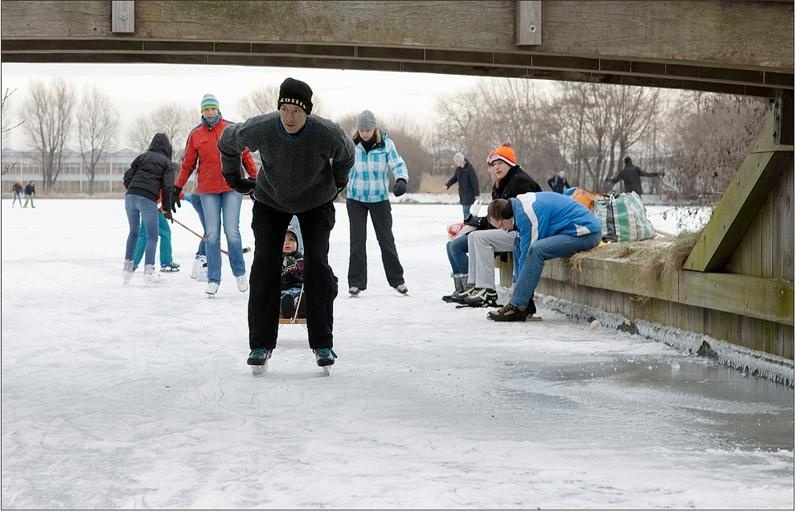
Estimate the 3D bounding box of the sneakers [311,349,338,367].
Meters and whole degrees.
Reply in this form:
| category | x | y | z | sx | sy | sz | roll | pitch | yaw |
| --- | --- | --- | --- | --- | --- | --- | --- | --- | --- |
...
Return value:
| category | x | y | z | sx | sy | sz | roll | pitch | yaw |
| --- | --- | --- | --- | --- | --- | --- | --- | --- | --- |
| sneakers | -0.624 | 0.854 | 6.749 | 0.117 | 0.148 | 0.348 | -4 | -8 | -8 |

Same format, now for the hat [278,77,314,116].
| category | x | y | z | sx | sy | sz | roll | pitch | yaw |
| --- | --- | --- | --- | --- | --- | --- | --- | --- | --- |
| hat | -0.800 | -1.235 | 6.206 | 0.262 | 0.275 | 0.379 | -1 | 10 | -7 |

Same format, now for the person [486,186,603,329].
| category | x | y | z | sx | sy | sz | roll | pitch | yaw |
| --- | --- | --- | --- | --- | --- | --- | --- | --- | --- |
| person | 1.596 | -0.006 | 8.947 | 1.262 | 1.383 | 0.488 | -5 | 11 | -27 |

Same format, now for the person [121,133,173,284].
| category | x | y | z | sx | sy | sz | roll | pitch | yaw |
| --- | --- | --- | --- | --- | --- | --- | --- | --- | --- |
| person | -3.594 | -0.702 | 11.513 | 0.755 | 2.084 | 1.392 | -3 | 10 | -15 |

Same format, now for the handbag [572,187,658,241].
| category | x | y | z | sx | sy | sz | roll | pitch | yaw |
| --- | --- | --- | --- | --- | --- | --- | --- | --- | --- |
| handbag | 2.506 | -0.493 | 9.612 | 0.590 | 0.321 | 0.872 | -6 | 4 | -39 |

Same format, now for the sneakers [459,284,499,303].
| category | x | y | z | sx | sy | sz | roll | pitch | yaw |
| --- | --- | --- | --- | --- | --- | --- | --- | --- | --- |
| sneakers | 0.956 | 0.454 | 9.757 | 0.490 | 0.209 | 0.180 | 4 | -3 | -1 |

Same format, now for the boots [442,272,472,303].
| category | x | y | z | sx | sy | sz | roll | pitch | yaw |
| --- | --- | --- | --- | --- | --- | --- | --- | --- | --- |
| boots | 0.830 | 0.399 | 10.142 | 0.510 | 0.374 | 0.197 | 2 | -2 | -20 |

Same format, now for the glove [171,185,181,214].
| category | x | y | z | sx | sy | sz | roll | pitch | yaw |
| --- | --- | --- | --- | --- | --- | --- | --- | --- | --- |
| glove | -3.130 | -0.774 | 11.205 | 0.123 | 0.399 | 0.330 | 4 | 8 | -19 |

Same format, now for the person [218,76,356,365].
| category | x | y | z | sx | sy | sz | roll | pitch | yaw |
| --- | --- | --- | --- | --- | --- | --- | --- | --- | --- |
| person | -0.906 | -0.243 | 6.686 | 1.081 | 2.399 | 0.716 | -1 | 10 | -4 |

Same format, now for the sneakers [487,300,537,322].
| category | x | y | z | sx | sy | sz | roll | pitch | yaw |
| --- | --- | --- | --- | --- | --- | --- | --- | --- | --- |
| sneakers | 1.247 | 0.596 | 8.874 | 0.592 | 0.273 | 0.213 | 3 | -2 | -9 |

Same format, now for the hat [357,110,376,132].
| category | x | y | z | sx | sy | sz | roll | pitch | yaw |
| --- | --- | --- | --- | --- | --- | --- | --- | --- | --- |
| hat | -0.418 | -1.816 | 10.759 | 0.244 | 0.267 | 0.395 | -1 | 10 | -2 |

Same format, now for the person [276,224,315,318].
| category | x | y | z | sx | sy | sz | roll | pitch | yaw |
| --- | --- | --- | --- | --- | --- | --- | --- | --- | --- |
| person | -1.046 | 0.225 | 8.011 | 0.283 | 0.806 | 0.472 | 1 | -5 | -15 |
